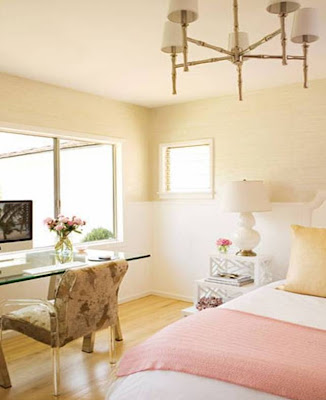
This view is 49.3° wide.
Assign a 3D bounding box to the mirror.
[{"bbox_3d":[0.308,-0.388,4.316,0.855,0.729,0.100,-1,-1,33],"label":"mirror"}]

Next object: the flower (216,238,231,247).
[{"bbox_3d":[0.627,0.436,3.614,0.115,0.067,0.096,2,1,-13],"label":"flower"}]

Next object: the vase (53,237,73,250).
[{"bbox_3d":[-0.899,0.397,3.215,0.142,0.127,0.133,-1,-9,9],"label":"vase"}]

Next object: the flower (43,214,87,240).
[{"bbox_3d":[-0.904,0.228,3.262,0.291,0.180,0.272,2,1,6],"label":"flower"}]

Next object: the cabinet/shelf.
[{"bbox_3d":[0.668,0.758,3.500,0.723,0.560,0.802,3,-5,-42],"label":"cabinet/shelf"}]
